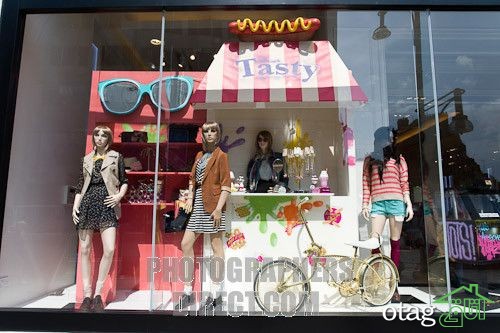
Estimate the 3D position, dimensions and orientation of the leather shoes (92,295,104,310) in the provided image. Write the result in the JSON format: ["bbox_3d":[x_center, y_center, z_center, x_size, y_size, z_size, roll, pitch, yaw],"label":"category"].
[{"bbox_3d":[-2.013,1.801,5.463,0.151,0.125,0.156,-1,14,-14],"label":"leather shoes"}]

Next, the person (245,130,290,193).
[{"bbox_3d":[0.306,-0.045,6.395,0.692,1.260,0.441,-3,-23,10],"label":"person"}]

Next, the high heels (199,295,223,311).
[{"bbox_3d":[-0.509,1.840,5.578,0.339,0.153,0.120,-2,-4,-38],"label":"high heels"}]

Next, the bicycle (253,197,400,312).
[{"bbox_3d":[1.017,1.473,6.219,1.949,1.440,0.902,-1,-6,-4],"label":"bicycle"}]

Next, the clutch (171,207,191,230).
[{"bbox_3d":[-0.958,0.736,5.734,0.215,0.309,0.107,13,-16,22],"label":"clutch"}]

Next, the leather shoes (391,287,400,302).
[{"bbox_3d":[2.028,1.785,5.770,0.108,0.207,0.204,4,-17,9],"label":"leather shoes"}]

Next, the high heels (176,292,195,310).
[{"bbox_3d":[-0.867,1.833,5.572,0.110,0.140,0.307,-8,-13,35],"label":"high heels"}]

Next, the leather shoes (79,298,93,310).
[{"bbox_3d":[-2.156,1.820,5.452,0.088,0.083,0.181,17,5,-11],"label":"leather shoes"}]
